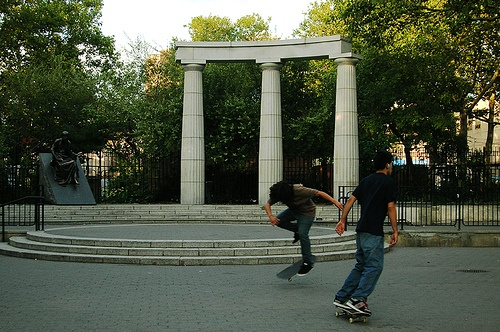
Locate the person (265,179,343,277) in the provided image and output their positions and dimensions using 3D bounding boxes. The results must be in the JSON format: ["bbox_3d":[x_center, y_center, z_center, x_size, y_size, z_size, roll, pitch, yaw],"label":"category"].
[{"bbox_3d":[1.467,1.982,19.266,1.462,2.962,0.761,1,-2,-14],"label":"person"}]

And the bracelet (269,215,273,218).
[{"bbox_3d":[0.646,1.577,19.042,0.123,0.079,0.113,0,-3,3],"label":"bracelet"}]
